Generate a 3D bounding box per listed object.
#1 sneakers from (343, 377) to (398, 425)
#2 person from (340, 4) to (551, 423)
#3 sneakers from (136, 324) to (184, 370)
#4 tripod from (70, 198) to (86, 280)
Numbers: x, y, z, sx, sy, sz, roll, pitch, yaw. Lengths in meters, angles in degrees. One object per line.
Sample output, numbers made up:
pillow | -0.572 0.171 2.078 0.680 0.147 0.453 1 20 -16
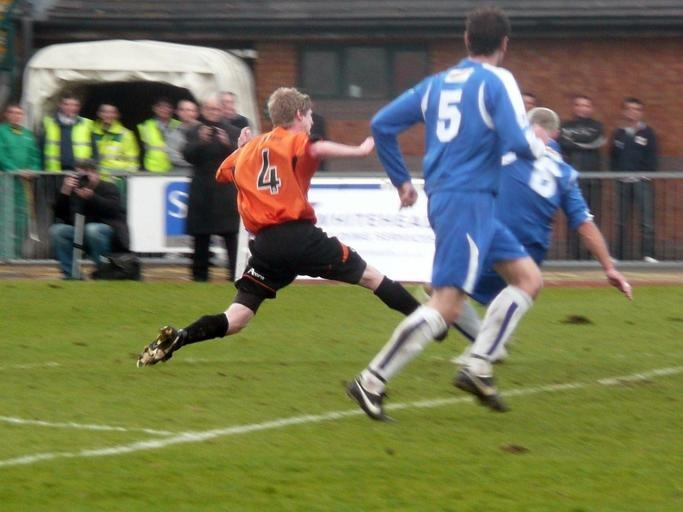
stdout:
sneakers | 0.170 0.935 7.823 0.429 0.201 0.150 39 -4 3
person | 0.747 -0.301 7.983 1.213 2.702 0.695 -1 0 7
sneakers | -1.210 0.613 8.110 0.373 0.188 0.153 -35 1 -5
tripod | -2.636 -0.184 11.924 0.125 0.637 0.128 -1 0 -28
